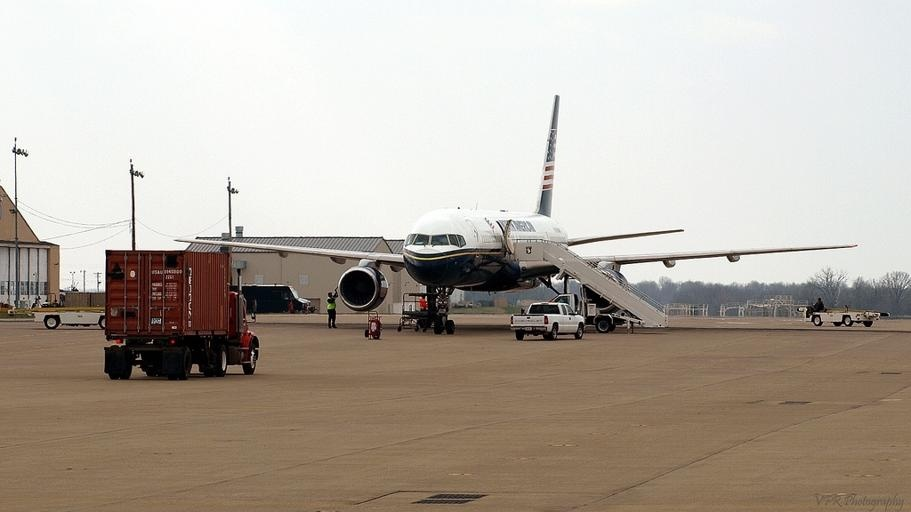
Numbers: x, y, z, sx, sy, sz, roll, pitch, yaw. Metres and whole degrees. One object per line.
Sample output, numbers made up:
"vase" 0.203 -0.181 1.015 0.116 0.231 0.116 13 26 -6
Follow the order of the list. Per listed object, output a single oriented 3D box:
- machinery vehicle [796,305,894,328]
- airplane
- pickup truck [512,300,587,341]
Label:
"machinery vehicle" 25.786 4.140 73.461 3.612 0.838 2.178 2 1 32
"airplane" 4.645 0.277 65.227 27.016 6.906 18.712 0 0 20
"pickup truck" 4.590 3.167 53.378 2.008 1.581 4.893 -1 -1 33
